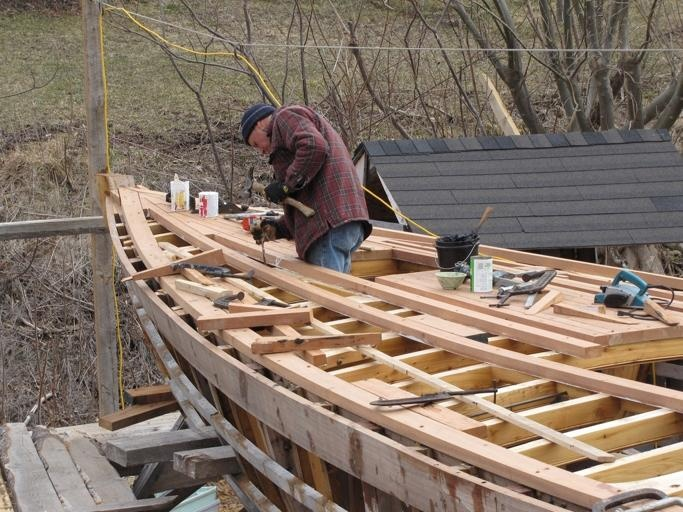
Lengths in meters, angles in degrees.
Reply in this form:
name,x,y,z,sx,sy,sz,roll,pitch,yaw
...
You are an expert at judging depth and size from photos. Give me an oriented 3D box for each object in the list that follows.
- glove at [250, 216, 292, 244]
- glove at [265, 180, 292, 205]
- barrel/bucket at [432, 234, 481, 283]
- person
name,x,y,z,sx,sy,sz,roll,pitch,yaw
glove,-0.510,-0.197,5.939,0.165,0.176,0.363,-23,7,25
glove,-0.465,-0.458,5.692,0.178,0.158,0.191,-4,13,-5
barrel/bucket,0.789,0.019,5.476,0.368,0.266,0.327,0,8,-10
person,-0.332,-0.538,5.752,0.943,1.245,0.879,14,14,34
